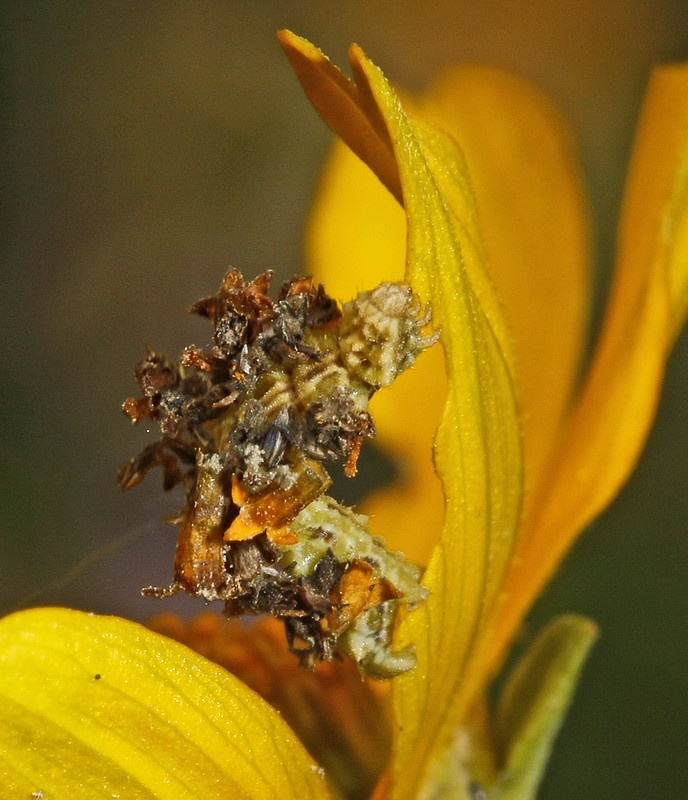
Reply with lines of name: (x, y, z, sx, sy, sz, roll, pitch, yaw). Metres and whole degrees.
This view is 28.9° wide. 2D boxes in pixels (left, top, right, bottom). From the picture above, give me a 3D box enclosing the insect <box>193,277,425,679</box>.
insect: (-0.043, 0.074, 1.276, 0.248, 0.395, 0.125, -1, -20, -2)
